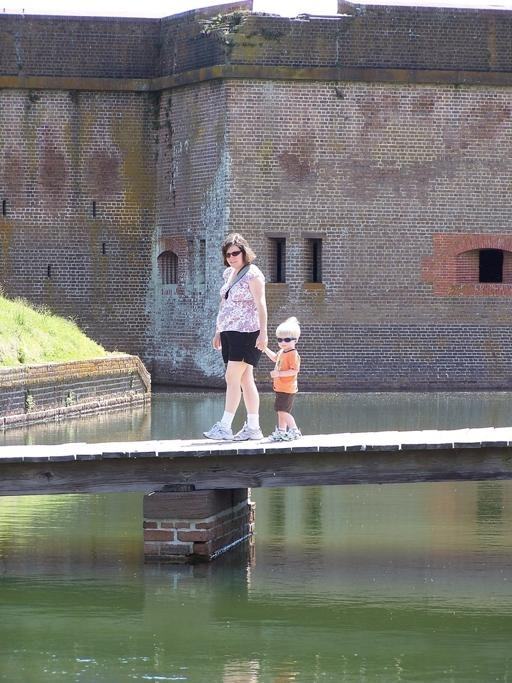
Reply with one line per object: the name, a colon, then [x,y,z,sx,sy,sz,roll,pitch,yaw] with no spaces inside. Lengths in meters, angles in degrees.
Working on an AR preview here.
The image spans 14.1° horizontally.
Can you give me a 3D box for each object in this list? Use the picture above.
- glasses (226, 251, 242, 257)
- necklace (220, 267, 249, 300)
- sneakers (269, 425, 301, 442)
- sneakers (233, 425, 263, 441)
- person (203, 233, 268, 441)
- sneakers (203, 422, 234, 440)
glasses: [-0.179,-0.801,18.656,0.134,0.052,0.040,0,7,0]
necklace: [-0.167,-0.536,18.738,0.072,0.402,0.122,18,0,13]
sneakers: [0.291,0.821,18.828,0.313,0.174,0.118,-2,2,3]
sneakers: [-0.044,0.818,18.942,0.294,0.178,0.115,-3,2,2]
person: [-0.153,-0.025,18.786,0.539,1.912,0.643,0,7,-1]
sneakers: [-0.354,0.818,19.009,0.315,0.224,0.125,2,5,8]
